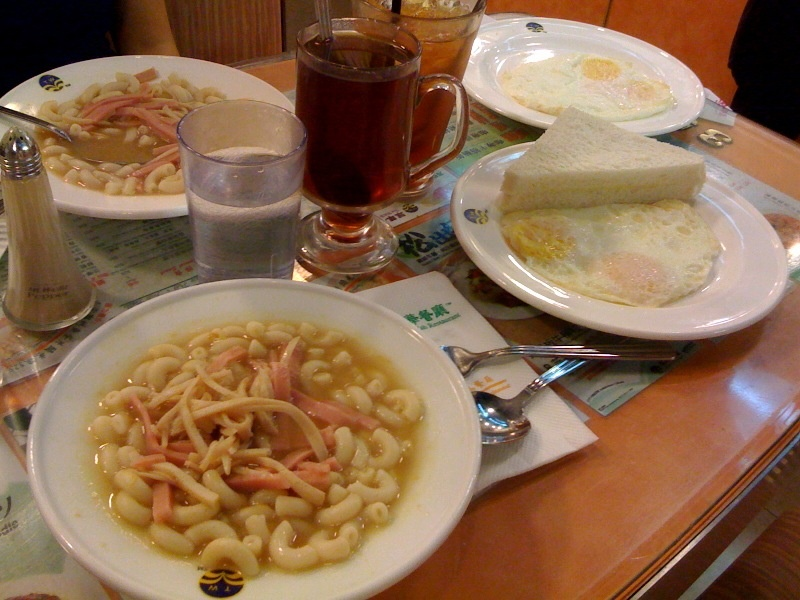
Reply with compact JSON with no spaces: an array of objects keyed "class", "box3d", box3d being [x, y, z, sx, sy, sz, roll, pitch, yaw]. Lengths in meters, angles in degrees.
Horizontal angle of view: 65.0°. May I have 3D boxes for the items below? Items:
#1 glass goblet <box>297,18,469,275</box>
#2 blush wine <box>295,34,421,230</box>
[{"class":"glass goblet","box3d":[-0.050,-0.306,1.354,0.360,0.421,0.231,-1,30,-12]},{"class":"blush wine","box3d":[-0.078,-0.363,1.327,0.210,0.336,0.250,-20,38,-36]}]
